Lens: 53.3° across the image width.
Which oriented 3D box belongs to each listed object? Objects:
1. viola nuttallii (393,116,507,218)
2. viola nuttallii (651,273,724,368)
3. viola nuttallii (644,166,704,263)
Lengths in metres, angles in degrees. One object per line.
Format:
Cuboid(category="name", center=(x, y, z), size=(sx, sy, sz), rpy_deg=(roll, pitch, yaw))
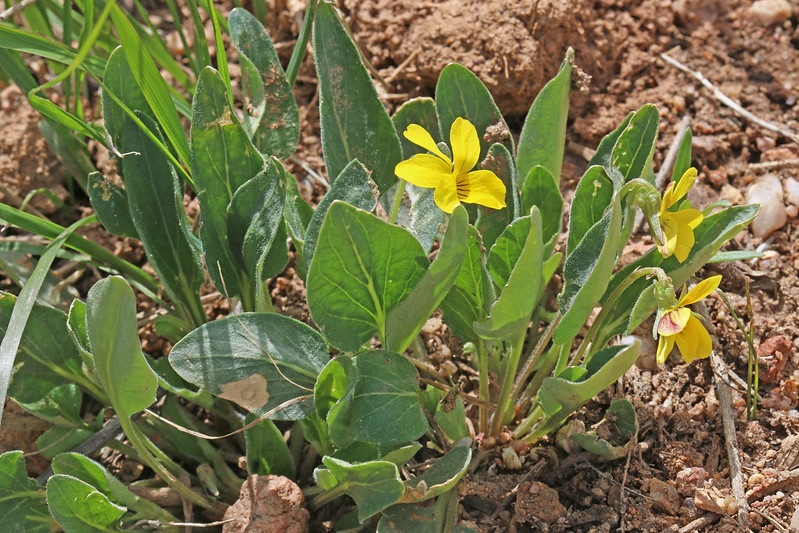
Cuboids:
Cuboid(category="viola nuttallii", center=(0.147, -0.279, 2.712), size=(0.350, 0.385, 0.117), rpy_deg=(-31, 43, 16))
Cuboid(category="viola nuttallii", center=(1.048, 0.210, 2.921), size=(0.152, 0.237, 0.237), rpy_deg=(20, 46, -18))
Cuboid(category="viola nuttallii", center=(0.973, -0.173, 2.820), size=(0.129, 0.300, 0.288), rpy_deg=(-8, 86, 6))
